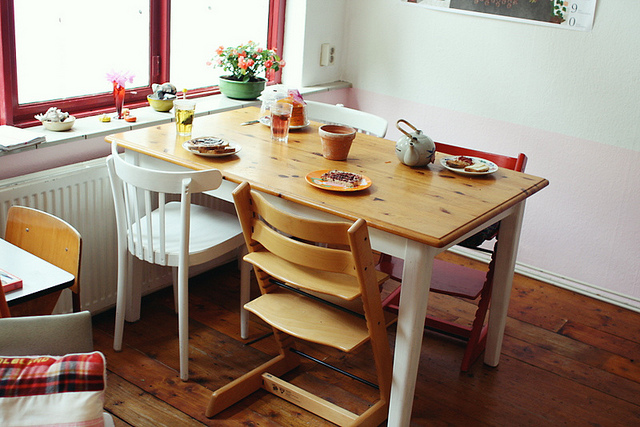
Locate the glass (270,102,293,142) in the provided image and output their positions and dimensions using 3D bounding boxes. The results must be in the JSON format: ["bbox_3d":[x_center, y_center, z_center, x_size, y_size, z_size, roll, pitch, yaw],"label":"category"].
[{"bbox_3d":[-0.212,-0.499,2.601,0.112,0.206,0.127,-2,25,-6],"label":"glass"}]

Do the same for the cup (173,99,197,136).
[{"bbox_3d":[-0.771,-0.507,2.546,0.165,0.181,0.162,-1,11,0],"label":"cup"}]

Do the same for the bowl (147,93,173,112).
[{"bbox_3d":[-0.977,-0.678,2.951,0.119,0.053,0.117,5,25,-2],"label":"bowl"}]

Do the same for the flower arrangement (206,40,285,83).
[{"bbox_3d":[-0.479,-1.070,3.377,0.357,0.183,0.320,-4,5,8],"label":"flower arrangement"}]

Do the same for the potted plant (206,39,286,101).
[{"bbox_3d":[-0.498,-0.997,3.450,0.498,0.347,0.462,-13,30,-36],"label":"potted plant"}]

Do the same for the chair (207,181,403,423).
[{"bbox_3d":[-0.061,0.427,2.192,0.644,1.018,0.804,22,39,31],"label":"chair"}]

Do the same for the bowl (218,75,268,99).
[{"bbox_3d":[-0.547,-0.889,3.364,0.233,0.081,0.218,2,24,-1],"label":"bowl"}]

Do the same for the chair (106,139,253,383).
[{"bbox_3d":[-0.718,0.202,2.553,0.742,0.976,0.691,3,18,-11],"label":"chair"}]

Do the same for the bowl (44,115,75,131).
[{"bbox_3d":[-1.375,-0.477,2.512,0.097,0.032,0.091,3,28,-1],"label":"bowl"}]

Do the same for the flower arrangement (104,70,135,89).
[{"bbox_3d":[-1.148,-0.777,2.741,0.120,0.049,0.112,5,17,-16],"label":"flower arrangement"}]

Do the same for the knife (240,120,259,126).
[{"bbox_3d":[-0.426,-0.536,2.833,0.169,0.009,0.023,-18,42,-40],"label":"knife"}]
